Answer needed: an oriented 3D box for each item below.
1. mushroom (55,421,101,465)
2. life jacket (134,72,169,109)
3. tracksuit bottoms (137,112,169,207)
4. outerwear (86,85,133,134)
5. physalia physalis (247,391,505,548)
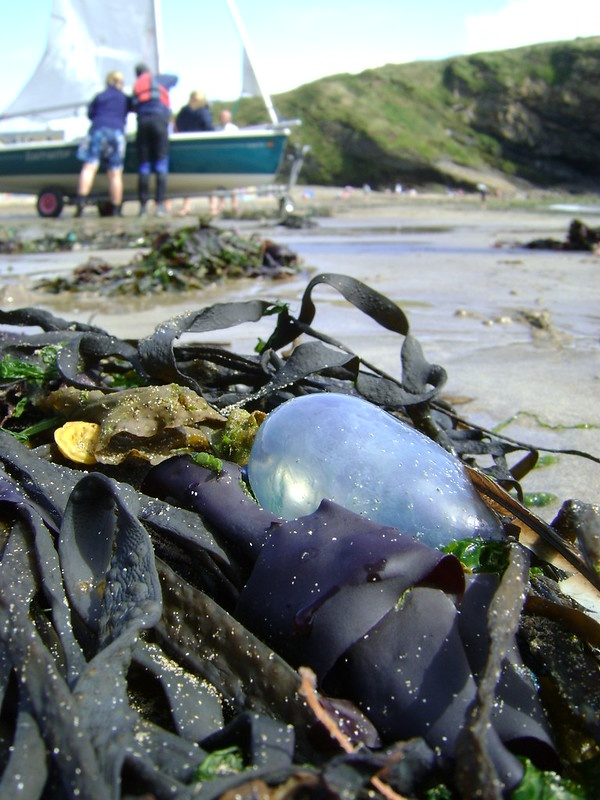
[{"bbox_3d":[-0.302,0.060,0.941,0.057,0.038,0.090,-1,18,-18],"label":"mushroom"},{"bbox_3d":[-0.946,-2.111,4.721,0.204,0.245,0.272,17,34,20],"label":"life jacket"},{"bbox_3d":[-1.072,-1.715,5.089,0.282,0.745,0.238,4,14,4],"label":"tracksuit bottoms"},{"bbox_3d":[-1.330,-2.036,4.864,0.344,0.207,0.399,4,-23,-22],"label":"outerwear"},{"bbox_3d":[0.061,0.088,0.846,0.289,0.149,0.144,27,38,12],"label":"physalia physalis"}]
